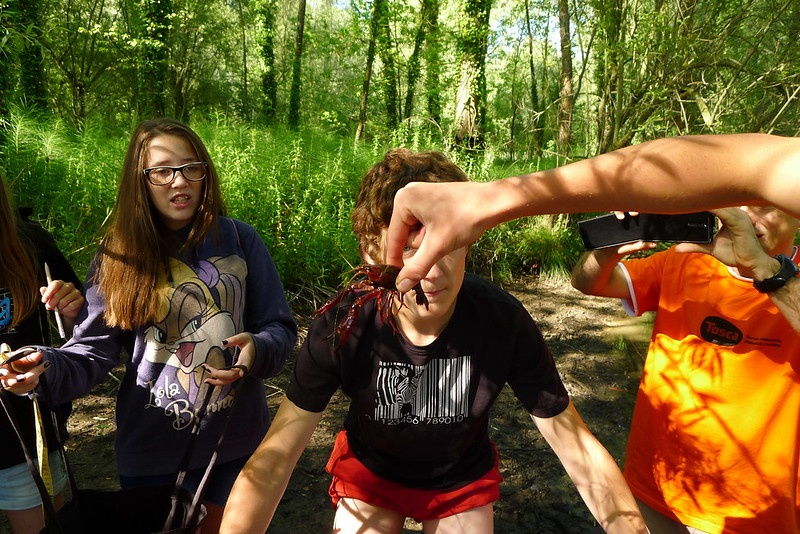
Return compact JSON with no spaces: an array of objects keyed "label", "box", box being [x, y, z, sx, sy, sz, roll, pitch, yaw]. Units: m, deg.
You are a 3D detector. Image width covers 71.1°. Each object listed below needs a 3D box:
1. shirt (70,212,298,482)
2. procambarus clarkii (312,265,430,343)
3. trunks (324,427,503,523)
[{"label":"shirt","box":[-1.469,0.574,4.379,1.637,2.978,0.898,6,13,8]},{"label":"procambarus clarkii","box":[-0.137,0.193,3.740,0.787,0.462,0.531,-1,12,-15]},{"label":"trunks","box":[0.054,1.473,3.758,0.881,0.302,0.510,5,31,3]}]
